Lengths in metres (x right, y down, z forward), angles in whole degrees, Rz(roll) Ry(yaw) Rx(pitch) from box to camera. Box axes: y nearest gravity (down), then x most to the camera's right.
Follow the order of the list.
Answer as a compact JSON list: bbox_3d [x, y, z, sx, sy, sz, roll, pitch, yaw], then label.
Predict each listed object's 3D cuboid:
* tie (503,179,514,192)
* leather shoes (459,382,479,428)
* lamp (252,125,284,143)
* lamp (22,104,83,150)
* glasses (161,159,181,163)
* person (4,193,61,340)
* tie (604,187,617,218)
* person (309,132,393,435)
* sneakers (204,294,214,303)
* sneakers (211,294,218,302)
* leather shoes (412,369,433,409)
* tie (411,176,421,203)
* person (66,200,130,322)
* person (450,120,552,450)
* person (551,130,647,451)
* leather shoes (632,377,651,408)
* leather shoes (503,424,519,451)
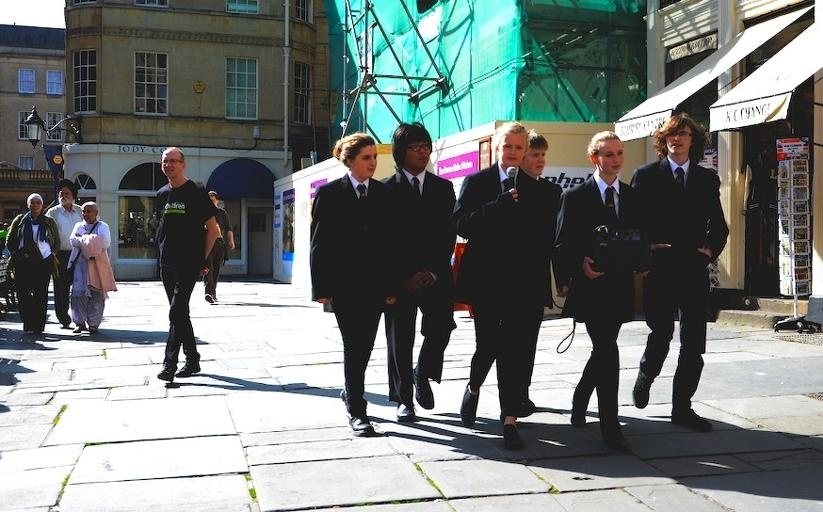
[{"bbox_3d":[0.922,-0.671,7.392,0.114,0.106,0.028,1,-2,28],"label":"tie"},{"bbox_3d":[0.573,1.451,7.640,0.150,0.425,0.169,2,3,1],"label":"leather shoes"},{"bbox_3d":[-5.015,-4.291,27.381,1.049,0.564,0.148,-3,9,-19],"label":"lamp"},{"bbox_3d":[-9.948,-3.550,21.849,1.588,0.949,0.920,-1,7,-16],"label":"lamp"},{"bbox_3d":[-2.891,-1.148,9.492,0.226,0.059,0.109,-3,9,-16],"label":"glasses"},{"bbox_3d":[-5.998,0.139,12.519,0.878,2.174,0.661,7,11,40],"label":"person"},{"bbox_3d":[1.895,-0.509,7.401,0.080,0.343,0.087,0,-15,2],"label":"tie"},{"bbox_3d":[-0.579,0.252,7.633,0.775,2.846,0.837,-2,9,-12],"label":"person"},{"bbox_3d":[-4.352,0.929,16.869,0.151,0.194,0.187,-11,11,-2],"label":"sneakers"},{"bbox_3d":[-4.249,0.923,16.854,0.050,0.147,0.100,-1,5,14],"label":"sneakers"},{"bbox_3d":[0.131,1.384,8.042,0.179,0.431,0.169,-18,5,12],"label":"leather shoes"},{"bbox_3d":[0.057,-0.663,7.686,0.079,0.224,0.091,0,8,1],"label":"tie"},{"bbox_3d":[-5.079,0.205,12.415,0.674,2.090,0.665,-4,9,-24],"label":"person"},{"bbox_3d":[0.911,0.147,7.505,0.762,2.795,0.757,-8,12,-44],"label":"person"},{"bbox_3d":[1.789,0.289,7.405,0.766,2.847,0.674,6,10,36],"label":"person"},{"bbox_3d":[2.321,1.372,7.889,0.137,0.372,0.167,3,1,10],"label":"leather shoes"},{"bbox_3d":[0.945,1.673,7.188,0.170,0.202,0.156,0,9,5],"label":"leather shoes"}]
